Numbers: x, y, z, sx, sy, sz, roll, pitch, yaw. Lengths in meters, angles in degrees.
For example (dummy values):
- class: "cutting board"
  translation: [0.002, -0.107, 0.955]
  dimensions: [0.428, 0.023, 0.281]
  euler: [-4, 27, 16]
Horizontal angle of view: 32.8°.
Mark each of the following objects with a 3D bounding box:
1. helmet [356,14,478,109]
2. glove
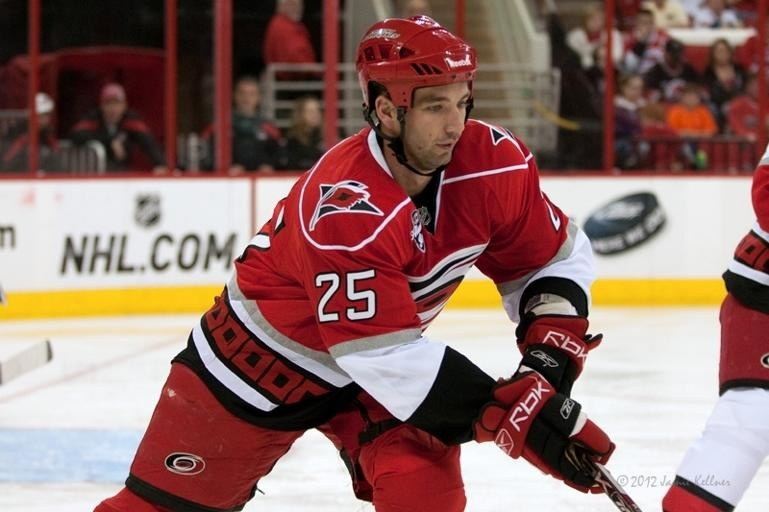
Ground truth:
- class: "helmet"
  translation: [0.173, -0.849, 6.254]
  dimensions: [0.592, 0.589, 0.485]
  euler: [8, 17, 34]
- class: "glove"
  translation: [0.765, 0.682, 6.108]
  dimensions: [0.633, 0.736, 0.488]
  euler: [4, 13, 5]
